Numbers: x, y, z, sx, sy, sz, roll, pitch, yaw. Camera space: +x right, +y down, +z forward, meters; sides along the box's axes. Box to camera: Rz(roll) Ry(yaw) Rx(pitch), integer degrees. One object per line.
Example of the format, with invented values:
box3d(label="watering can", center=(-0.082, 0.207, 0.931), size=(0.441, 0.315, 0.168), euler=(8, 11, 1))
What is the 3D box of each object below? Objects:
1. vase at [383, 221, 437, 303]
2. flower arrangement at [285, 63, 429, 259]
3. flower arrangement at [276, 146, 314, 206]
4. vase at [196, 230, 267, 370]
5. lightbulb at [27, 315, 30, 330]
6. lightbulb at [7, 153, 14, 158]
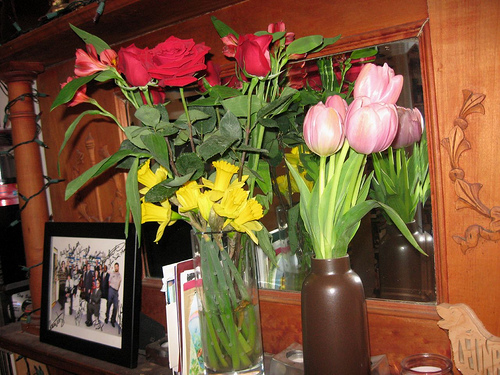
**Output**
box3d(label="vase", center=(0.374, 0.175, 0.899), size=(0.114, 0.194, 0.052), euler=(-4, -8, 19))
box3d(label="flower arrangement", center=(0.216, -0.041, 0.831), size=(0.251, 0.382, 0.269), euler=(-5, -9, 24))
box3d(label="flower arrangement", center=(0.122, -0.035, 1.070), size=(0.123, 0.111, 0.125), euler=(-15, -8, -30))
box3d(label="vase", center=(-0.046, 0.272, 0.896), size=(0.155, 0.333, 0.103), euler=(-1, -8, -3))
box3d(label="lightbulb", center=(-0.795, 0.484, 1.361), size=(0.008, 0.038, 0.006), euler=(2, 0, 18))
box3d(label="lightbulb", center=(-0.976, -0.129, 1.543), size=(0.018, 0.022, 0.049), euler=(-13, 21, -36))
